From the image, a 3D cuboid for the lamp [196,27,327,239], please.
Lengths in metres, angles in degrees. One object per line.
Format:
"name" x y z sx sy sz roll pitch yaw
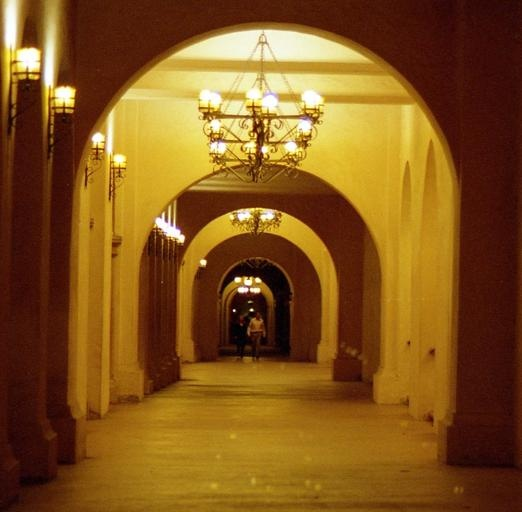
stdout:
"lamp" -0.025 -2.245 9.096 1.833 3.099 2.000 1 4 3
